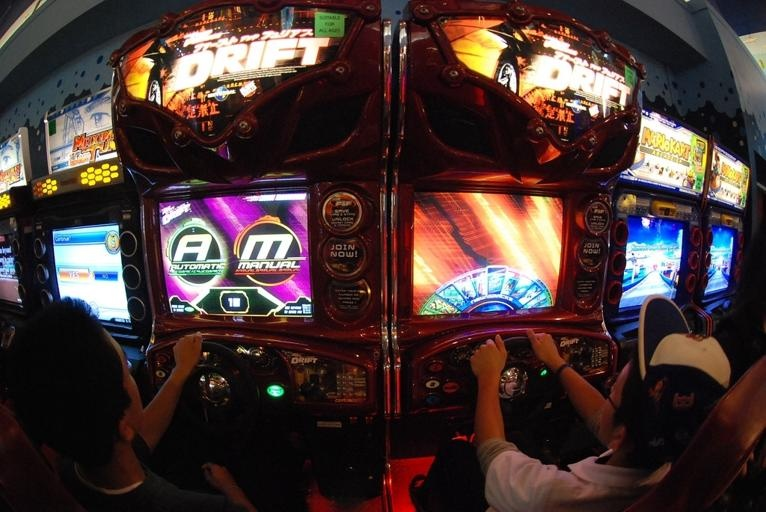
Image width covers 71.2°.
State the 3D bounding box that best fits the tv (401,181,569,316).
[{"bbox_3d":[0.547,-0.065,3.050,0.753,0.565,0.105,0,2,-3],"label":"tv"}]

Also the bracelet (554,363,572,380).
[{"bbox_3d":[1.014,0.652,3.002,0.083,0.024,0.084,-39,1,-43],"label":"bracelet"}]

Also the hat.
[{"bbox_3d":[1.457,0.488,2.604,0.378,0.539,0.187,11,-15,-11],"label":"hat"}]

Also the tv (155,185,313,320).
[{"bbox_3d":[-0.821,-0.044,3.034,0.739,0.550,0.028,-1,5,3],"label":"tv"}]

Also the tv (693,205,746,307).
[{"bbox_3d":[2.044,0.013,3.206,0.301,0.622,0.199,2,-6,-16],"label":"tv"}]
